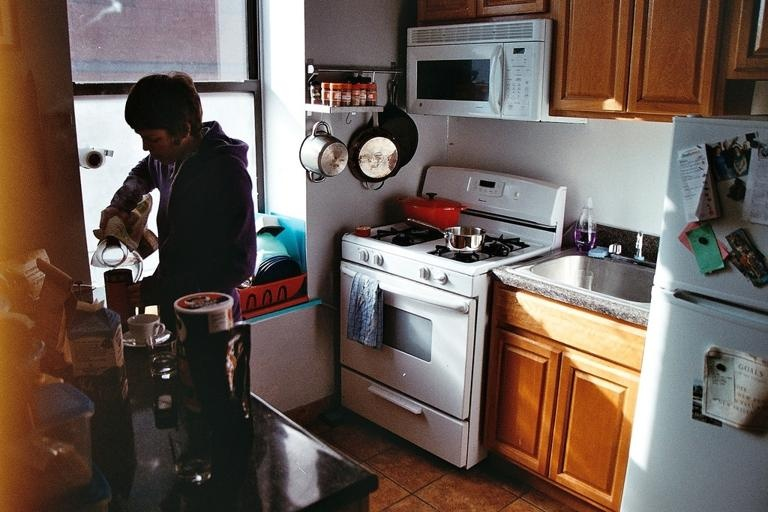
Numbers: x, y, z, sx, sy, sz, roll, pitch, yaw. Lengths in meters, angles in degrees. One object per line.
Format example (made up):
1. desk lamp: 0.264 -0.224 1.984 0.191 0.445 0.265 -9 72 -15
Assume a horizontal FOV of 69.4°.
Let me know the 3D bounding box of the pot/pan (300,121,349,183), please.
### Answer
1. pot/pan: -0.304 -0.608 3.151 0.322 0.305 0.394 12 21 23

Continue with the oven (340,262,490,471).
1. oven: 0.257 0.572 3.245 0.601 1.045 1.070 -7 11 -40

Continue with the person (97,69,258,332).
1. person: -0.873 -0.258 2.331 0.351 0.960 0.664 8 19 28

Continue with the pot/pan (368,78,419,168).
1. pot/pan: 0.084 -0.784 3.300 0.298 0.488 0.068 -6 14 -34

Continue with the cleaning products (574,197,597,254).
1. cleaning products: 1.097 -0.168 3.006 0.121 0.291 0.205 5 17 18

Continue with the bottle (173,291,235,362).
1. bottle: -0.444 0.169 1.389 0.135 0.117 0.156 -7 18 -20

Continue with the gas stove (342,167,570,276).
1. gas stove: 0.409 -0.152 3.067 0.719 0.502 0.976 -15 23 -39

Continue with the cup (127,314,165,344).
1. cup: -0.716 0.220 1.689 0.095 0.063 0.075 9 21 3

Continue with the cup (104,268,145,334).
1. cup: -0.925 0.150 1.946 0.110 0.183 0.174 -5 17 -13

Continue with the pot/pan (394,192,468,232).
1. pot/pan: 0.291 -0.288 3.346 0.403 0.175 0.321 14 16 37

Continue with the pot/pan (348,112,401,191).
1. pot/pan: -0.059 -0.594 3.195 0.286 0.418 0.056 -9 8 -34

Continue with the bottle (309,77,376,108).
1. bottle: -0.212 -0.860 2.933 0.203 0.096 0.274 -11 18 -34

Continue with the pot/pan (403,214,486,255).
1. pot/pan: 0.377 -0.119 3.084 0.251 0.120 0.514 -8 19 -23
